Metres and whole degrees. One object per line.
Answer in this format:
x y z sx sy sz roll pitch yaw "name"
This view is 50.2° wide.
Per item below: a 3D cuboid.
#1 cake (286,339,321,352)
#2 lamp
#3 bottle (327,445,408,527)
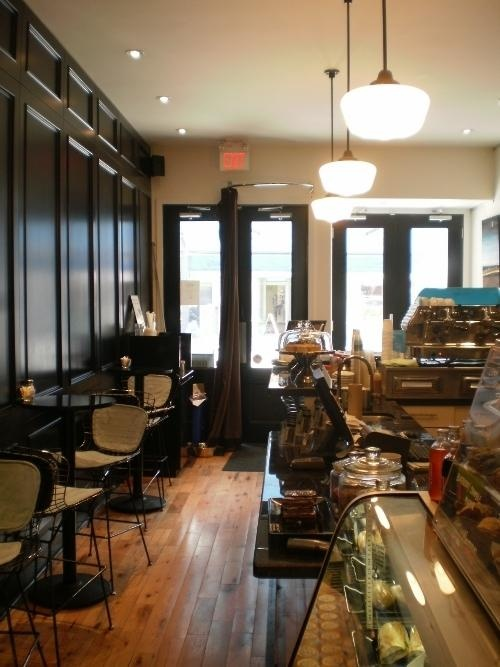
0.288 0.069 2.860 0.189 0.064 0.180 1 1 1 "cake"
0.799 -1.468 3.515 0.294 1.116 1.141 3 -7 -6 "lamp"
0.301 0.355 1.336 0.161 0.187 0.164 2 4 28 "bottle"
